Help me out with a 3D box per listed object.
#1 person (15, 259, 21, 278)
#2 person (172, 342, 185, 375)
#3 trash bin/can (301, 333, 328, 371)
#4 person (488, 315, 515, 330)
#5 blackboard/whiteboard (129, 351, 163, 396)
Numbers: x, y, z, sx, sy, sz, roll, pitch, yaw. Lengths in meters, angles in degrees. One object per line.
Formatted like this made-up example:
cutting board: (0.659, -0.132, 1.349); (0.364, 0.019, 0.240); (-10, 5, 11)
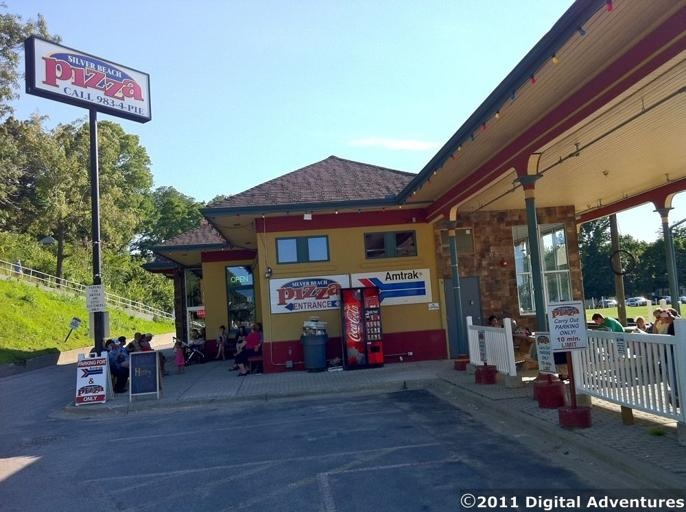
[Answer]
person: (-21.214, 0.758, 36.499); (0.482, 0.974, 3.366); (-5, -1, -31)
person: (-5.785, 3.596, 19.773); (0.282, 1.021, 1.243); (-5, -1, -18)
trash bin/can: (-0.892, 3.041, 17.483); (1.041, 1.231, 1.013); (1, -13, -6)
person: (4.671, 1.990, 16.739); (0.894, 0.278, 0.926); (-1, -1, -14)
blackboard/whiteboard: (-5.181, 3.104, 14.601); (0.756, 1.087, 0.431); (-5, -1, -21)
